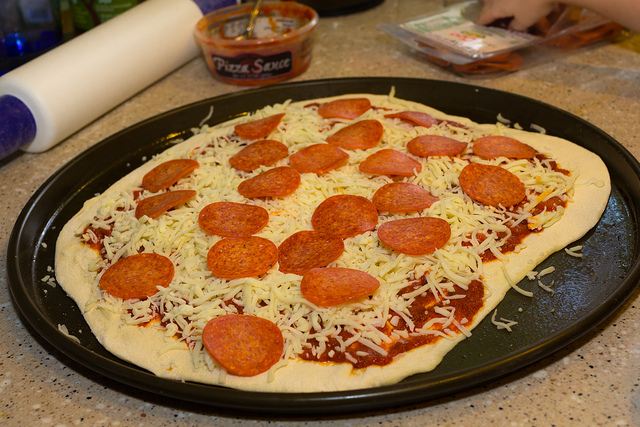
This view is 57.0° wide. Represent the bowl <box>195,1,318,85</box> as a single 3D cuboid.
[{"bbox_3d":[-0.232,-0.642,2.206,0.415,0.151,0.397,-3,33,2],"label":"bowl"}]
